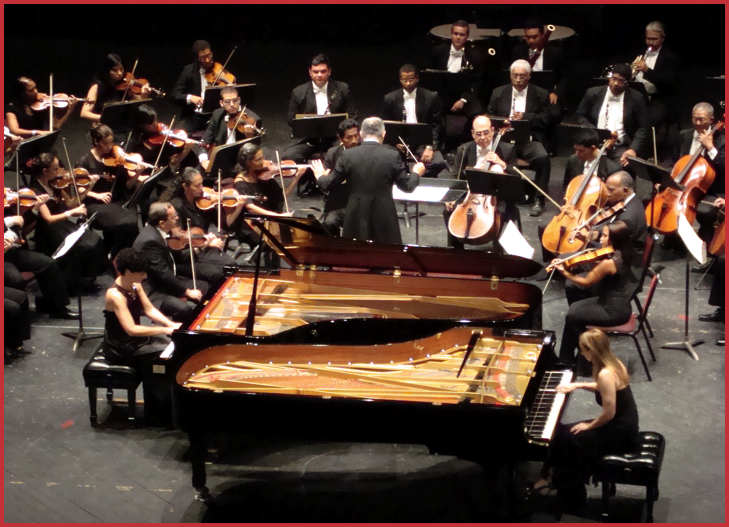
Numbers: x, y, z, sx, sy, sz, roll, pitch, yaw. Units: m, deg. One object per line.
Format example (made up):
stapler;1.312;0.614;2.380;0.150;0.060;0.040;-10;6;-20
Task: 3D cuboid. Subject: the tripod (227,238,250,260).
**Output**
tripod;-1.748;-0.192;9.707;0.317;0.087;0.362;8;13;-24

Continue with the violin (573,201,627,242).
violin;2.806;-0.535;8.272;0.164;0.728;0.381;48;21;1

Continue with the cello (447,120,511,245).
cello;1.440;-1.128;9.268;0.855;1.882;0.764;-2;-40;24

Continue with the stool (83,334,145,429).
stool;-2.406;1.163;6.687;0.506;0.756;0.556;2;7;-14

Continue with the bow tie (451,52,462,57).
bow tie;1.577;-3.558;11.773;0.124;0.045;0.148;0;-1;7

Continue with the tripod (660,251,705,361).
tripod;3.794;0.440;8.073;0.417;1.104;1.373;8;8;26

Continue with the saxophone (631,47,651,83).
saxophone;4.504;-3.208;11.282;0.259;0.694;0.538;13;16;18

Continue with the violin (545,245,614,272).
violin;2.172;-0.059;6.959;0.579;0.083;0.222;-18;2;19

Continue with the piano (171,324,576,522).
piano;0.095;1.287;5.612;2.830;0.844;1.508;0;12;9

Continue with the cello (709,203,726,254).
cello;4.390;-0.429;8.583;0.157;0.552;0.360;1;-5;19

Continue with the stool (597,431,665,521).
stool;2.113;1.538;5.665;0.628;0.585;0.970;-2;2;19

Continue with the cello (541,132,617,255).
cello;2.715;-0.837;8.680;0.355;1.537;0.638;36;-4;-38

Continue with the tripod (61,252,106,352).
tripod;-3.222;0.623;7.961;0.421;0.644;0.602;0;8;-28

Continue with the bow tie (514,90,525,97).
bow tie;2.444;-2.667;10.871;0.127;0.053;0.160;-1;-3;6
